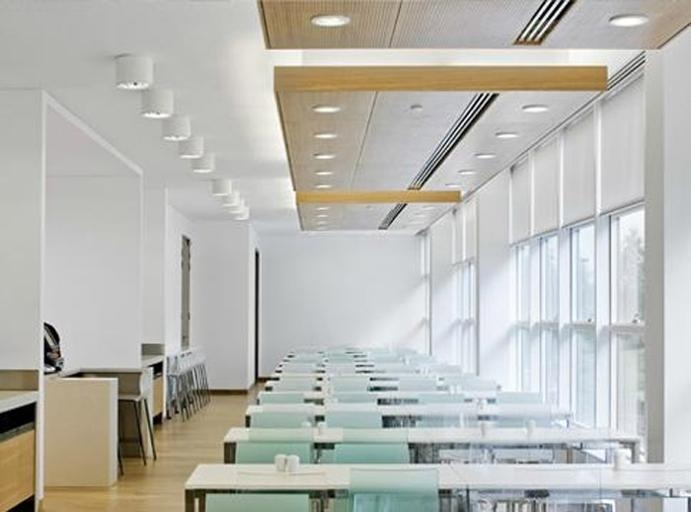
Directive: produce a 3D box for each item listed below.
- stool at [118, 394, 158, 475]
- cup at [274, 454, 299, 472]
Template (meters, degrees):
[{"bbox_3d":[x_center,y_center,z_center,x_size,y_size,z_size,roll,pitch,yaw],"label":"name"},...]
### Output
[{"bbox_3d":[-2.582,2.128,7.827,0.501,0.869,1.246,4,-12,-16],"label":"stool"},{"bbox_3d":[-0.363,1.242,3.840,0.136,0.098,0.117,1,-11,-2],"label":"cup"}]
